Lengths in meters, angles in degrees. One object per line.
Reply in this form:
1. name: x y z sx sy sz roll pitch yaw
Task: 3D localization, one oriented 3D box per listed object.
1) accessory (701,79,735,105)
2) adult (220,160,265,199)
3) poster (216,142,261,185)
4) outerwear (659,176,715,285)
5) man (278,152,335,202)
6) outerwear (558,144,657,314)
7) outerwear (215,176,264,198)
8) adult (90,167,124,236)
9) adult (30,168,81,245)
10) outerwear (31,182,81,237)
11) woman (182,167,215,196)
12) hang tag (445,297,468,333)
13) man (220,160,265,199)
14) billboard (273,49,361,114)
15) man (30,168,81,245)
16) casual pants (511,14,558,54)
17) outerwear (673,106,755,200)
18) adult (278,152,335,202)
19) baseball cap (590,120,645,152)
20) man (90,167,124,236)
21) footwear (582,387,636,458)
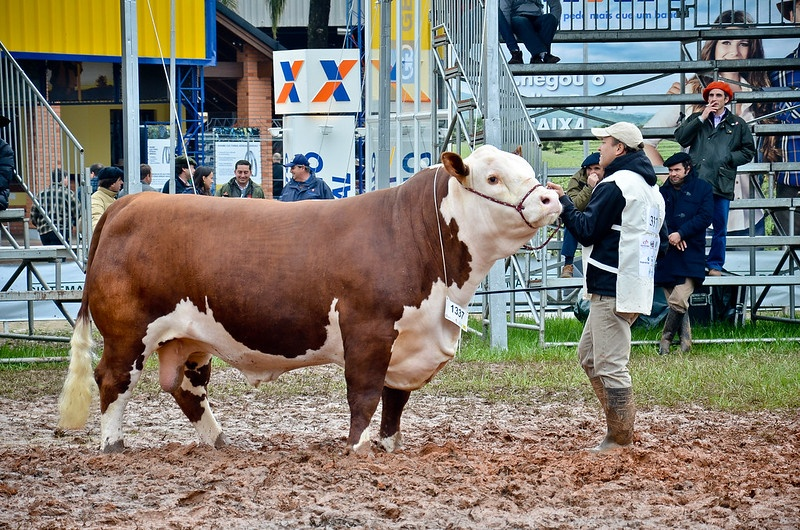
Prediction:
1. accessory: 5.131 -2.784 27.481 0.361 0.142 0.446 4 -32 8
2. adult: -2.701 -1.496 29.550 0.830 0.824 0.508 1 23 -9
3. poster: -3.242 -2.049 33.978 0.923 1.018 0.115 0 -8 -5
4. outerwear: 4.477 -0.546 26.629 0.848 1.749 0.577 1 6 13
5. man: -1.628 -1.316 29.003 0.991 1.078 0.592 0 4 20
6. outerwear: 2.793 -0.274 23.111 1.370 2.512 1.454 7 -4 3
7. outerwear: -2.876 -1.384 30.311 0.683 0.642 0.312 1 0 -18
8. adult: -4.374 -0.943 25.570 0.407 1.514 0.872 7 6 -8
9. adult: -5.430 -0.698 26.706 0.604 1.617 0.475 4 22 -13
10. outerwear: -5.331 -0.886 26.455 0.588 0.670 0.365 5 -17 4
11. woman: -3.398 -1.406 28.580 0.483 0.612 0.571 -1 14 -15
12. hang tag: 0.734 0.634 22.227 0.339 0.261 0.016 32 -23 -36
13. man: -2.712 -1.500 29.566 0.819 0.825 0.492 2 22 -6
14. billboard: -1.560 -3.766 35.342 2.037 1.450 2.113 -1 2 41
15. man: -5.416 -0.689 26.680 0.614 1.646 0.471 4 17 -13
16. casual pants: 2.335 -3.869 28.824 0.767 0.785 0.753 -12 9 -30
17. outerwear: 5.029 -1.781 27.237 1.281 1.824 0.844 -8 -20 38
18. adult: -1.623 -1.330 28.990 0.967 1.111 0.577 -1 0 17
19. baseball cap: 2.954 -1.758 22.832 0.514 0.258 0.362 16 9 6
20. man: -4.374 -0.943 25.570 0.407 1.514 0.872 7 6 -8
21. footwear: 2.863 2.040 22.625 0.511 0.832 0.402 1 6 8
